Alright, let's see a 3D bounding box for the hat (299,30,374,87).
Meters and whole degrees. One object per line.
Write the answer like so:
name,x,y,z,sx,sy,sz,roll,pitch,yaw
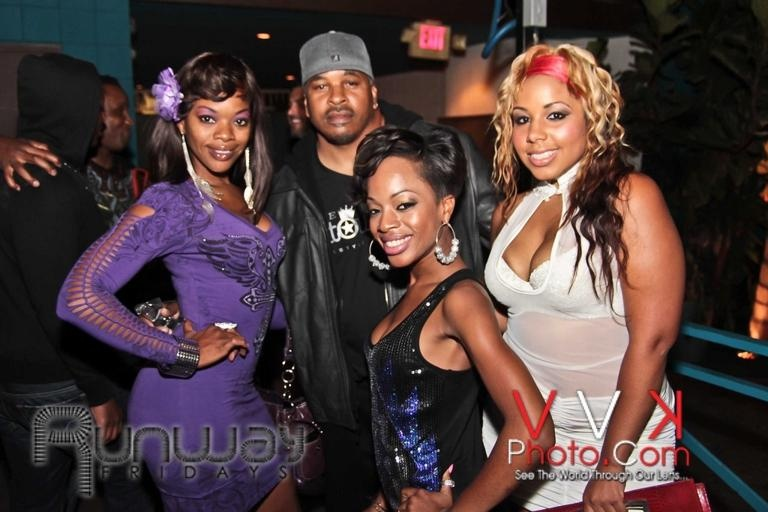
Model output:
hat,-0.371,-1.470,4.775,0.419,0.280,0.436,-5,4,-1
